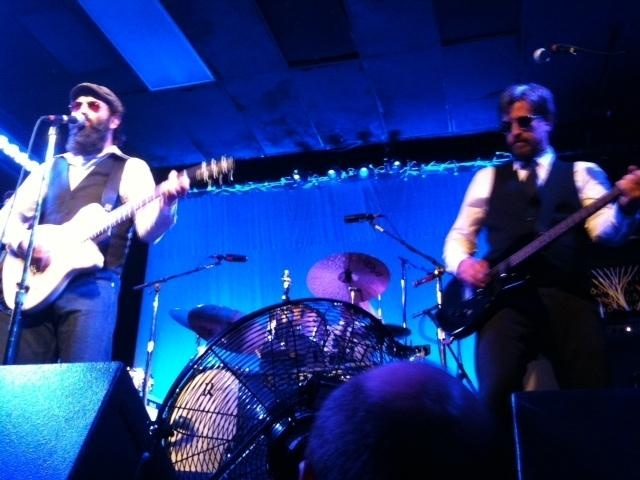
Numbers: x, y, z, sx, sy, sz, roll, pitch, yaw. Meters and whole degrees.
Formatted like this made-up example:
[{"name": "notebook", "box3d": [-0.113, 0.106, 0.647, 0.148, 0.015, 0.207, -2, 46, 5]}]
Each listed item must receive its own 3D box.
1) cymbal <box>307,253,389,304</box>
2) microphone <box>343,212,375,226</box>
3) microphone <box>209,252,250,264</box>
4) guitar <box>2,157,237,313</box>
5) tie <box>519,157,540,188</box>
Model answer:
[{"name": "cymbal", "box3d": [0.246, 0.320, 4.847, 0.517, 0.122, 0.524, -11, -53, 6]}, {"name": "microphone", "box3d": [0.297, -0.175, 4.961, 0.444, 0.122, 0.121, -1, 2, 19]}, {"name": "microphone", "box3d": [-0.879, 0.180, 5.595, 0.488, 0.146, 0.109, 1, -8, -5]}, {"name": "guitar", "box3d": [-1.101, 0.011, 2.855, 1.040, 0.736, 0.351, 0, -21, -7]}, {"name": "tie", "box3d": [1.078, -0.343, 2.913, 0.094, 0.137, 0.033, -27, -4, 1]}]
